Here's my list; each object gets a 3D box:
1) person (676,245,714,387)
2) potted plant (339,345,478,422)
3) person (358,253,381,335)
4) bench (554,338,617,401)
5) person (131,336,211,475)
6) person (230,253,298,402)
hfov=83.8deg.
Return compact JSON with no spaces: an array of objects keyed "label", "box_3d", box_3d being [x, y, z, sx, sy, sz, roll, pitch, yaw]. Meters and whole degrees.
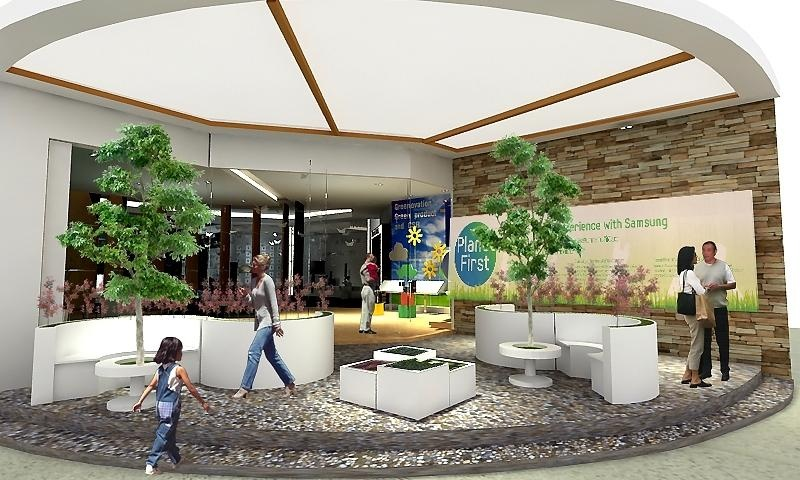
[{"label":"person","box_3d":[5.355,1.357,8.114,0.486,2.446,0.668,-1,-3,32]},{"label":"potted plant","box_3d":[0.140,2.380,7.617,1.682,0.770,1.534,-1,-2,38]},{"label":"person","box_3d":[-0.885,1.432,12.410,0.467,2.089,1.032,1,-2,-3]},{"label":"bench","box_3d":[3.670,2.303,8.342,0.778,0.625,1.444,-1,2,-12]},{"label":"person","box_3d":[-3.180,2.280,6.182,0.918,1.895,0.448,0,-3,22]},{"label":"person","box_3d":[-2.338,1.445,7.720,0.969,2.409,0.376,2,-3,-17]}]
